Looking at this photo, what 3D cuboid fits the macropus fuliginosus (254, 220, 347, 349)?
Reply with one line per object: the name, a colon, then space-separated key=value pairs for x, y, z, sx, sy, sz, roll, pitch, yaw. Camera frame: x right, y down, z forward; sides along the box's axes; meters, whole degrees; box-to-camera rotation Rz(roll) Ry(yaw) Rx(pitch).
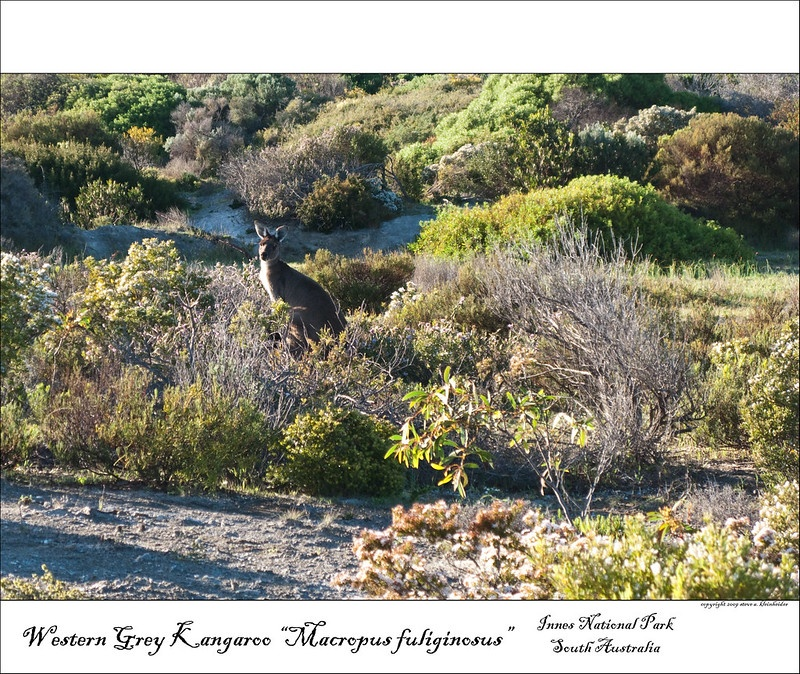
macropus fuliginosus: x=-1.214 y=-0.582 z=21.549 sx=0.575 sy=1.436 sz=1.395 roll=-18 pitch=35 yaw=-32
